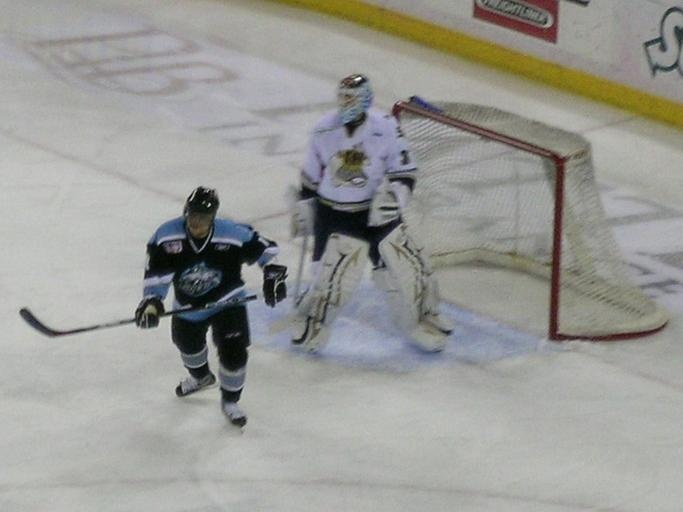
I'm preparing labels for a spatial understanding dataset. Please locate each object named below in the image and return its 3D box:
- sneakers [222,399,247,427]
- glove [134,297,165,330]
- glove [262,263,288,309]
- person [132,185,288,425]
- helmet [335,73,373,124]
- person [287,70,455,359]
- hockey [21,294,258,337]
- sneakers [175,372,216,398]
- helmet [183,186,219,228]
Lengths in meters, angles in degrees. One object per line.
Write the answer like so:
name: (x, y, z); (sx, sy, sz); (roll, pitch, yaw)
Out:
sneakers: (-0.624, 0.918, 6.925); (0.112, 0.079, 0.181); (-36, 56, -18)
glove: (-1.065, 0.314, 6.598); (0.148, 0.176, 0.074); (10, 4, -24)
glove: (-0.379, 0.172, 6.750); (0.101, 0.217, 0.175); (12, 19, 3)
person: (-0.755, 0.280, 6.789); (0.830, 1.404, 0.367); (4, 18, -10)
helmet: (0.094, -0.952, 7.093); (0.233, 0.269, 0.135); (18, -1, 34)
person: (0.200, -0.244, 7.306); (1.003, 1.730, 0.278); (6, 17, -3)
hockey: (-1.118, 0.292, 6.707); (1.331, 0.165, 0.094); (-11, 3, -6)
sneakers: (-0.878, 0.778, 7.126); (0.250, 0.086, 0.118); (-17, 24, -9)
helmet: (-0.777, -0.289, 6.547); (0.181, 0.187, 0.166); (4, 16, -8)
